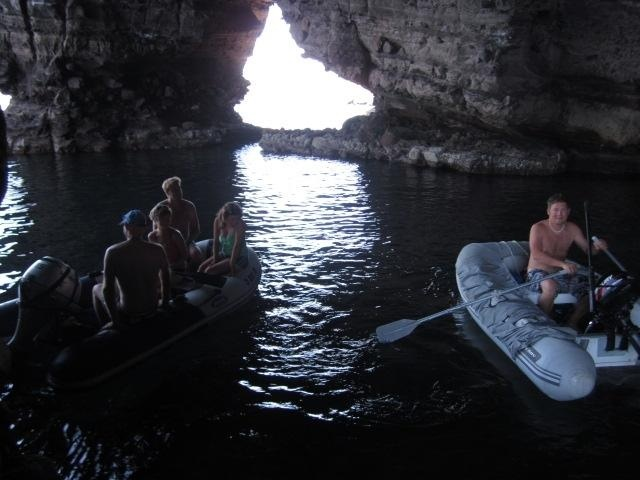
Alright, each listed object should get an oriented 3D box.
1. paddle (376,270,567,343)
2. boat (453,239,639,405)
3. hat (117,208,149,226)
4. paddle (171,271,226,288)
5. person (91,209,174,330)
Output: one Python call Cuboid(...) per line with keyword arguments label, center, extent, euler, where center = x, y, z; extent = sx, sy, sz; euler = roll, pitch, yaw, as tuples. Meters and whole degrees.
Cuboid(label="paddle", center=(2.015, 0.892, 7.197), extent=(2.325, 0.303, 0.181), euler=(-18, -15, 10))
Cuboid(label="boat", center=(2.745, 0.878, 7.044), extent=(1.417, 1.159, 2.658), euler=(-5, 15, -13))
Cuboid(label="hat", center=(-2.073, -0.241, 6.187), extent=(0.229, 0.163, 0.221), euler=(-4, 15, -12))
Cuboid(label="paddle", center=(-1.575, 0.514, 7.335), extent=(0.538, 0.105, 0.271), euler=(7, 11, 15))
Cuboid(label="person", center=(-2.115, 0.320, 6.342), extent=(0.770, 1.327, 0.279), euler=(-11, 19, -33))
